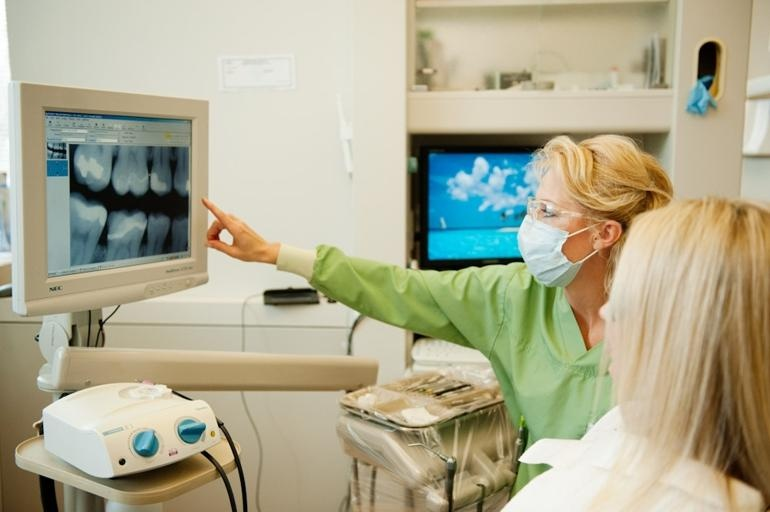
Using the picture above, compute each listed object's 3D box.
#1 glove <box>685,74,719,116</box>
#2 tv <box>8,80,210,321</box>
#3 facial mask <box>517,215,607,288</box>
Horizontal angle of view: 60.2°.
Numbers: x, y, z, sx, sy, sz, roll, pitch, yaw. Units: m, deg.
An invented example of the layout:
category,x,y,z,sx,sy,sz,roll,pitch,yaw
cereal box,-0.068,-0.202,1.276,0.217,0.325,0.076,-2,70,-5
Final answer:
category,x,y,z,sx,sy,sz,roll,pitch,yaw
glove,1.212,-0.607,2.521,0.110,0.150,0.065,1,-2,3
tv,-0.760,-0.167,1.916,0.067,0.603,0.600,8,9,30
facial mask,0.501,-0.042,1.885,0.198,0.138,0.177,-23,8,-3
